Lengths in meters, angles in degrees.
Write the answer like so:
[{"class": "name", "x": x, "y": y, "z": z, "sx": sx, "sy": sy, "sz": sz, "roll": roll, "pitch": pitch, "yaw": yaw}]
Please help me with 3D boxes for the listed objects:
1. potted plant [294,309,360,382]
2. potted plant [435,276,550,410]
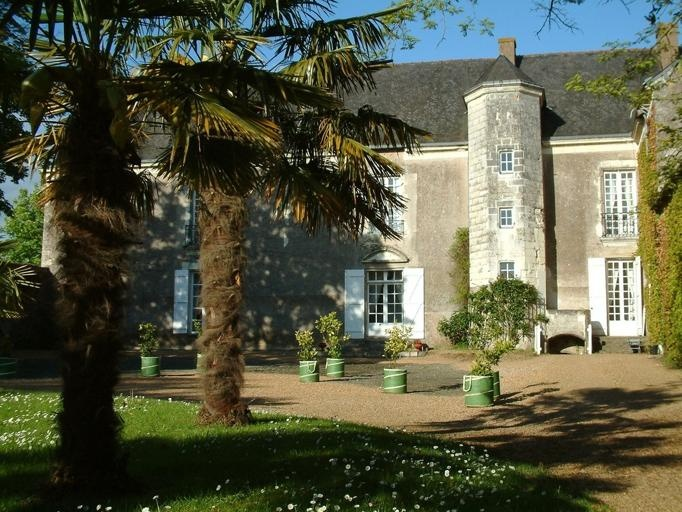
[{"class": "potted plant", "x": -0.266, "y": 2.327, "z": 18.890, "sx": 1.640, "sy": 1.936, "sz": 1.024, "roll": 0, "pitch": -1, "yaw": 8}, {"class": "potted plant", "x": 4.480, "y": 2.057, "z": 18.724, "sx": 3.095, "sy": 3.508, "sz": 2.191, "roll": 2, "pitch": -11, "yaw": 0}]
